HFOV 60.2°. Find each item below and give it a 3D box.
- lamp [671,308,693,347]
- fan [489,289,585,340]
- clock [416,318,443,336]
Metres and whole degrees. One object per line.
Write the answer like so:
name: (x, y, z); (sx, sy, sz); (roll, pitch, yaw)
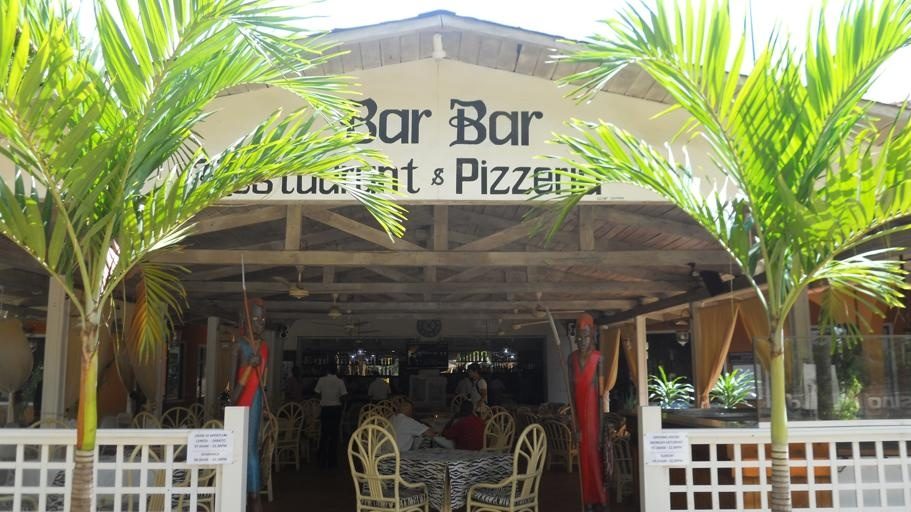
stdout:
lamp: (4.699, 1.441, 16.256); (0.421, 0.767, 0.329); (-3, -5, 7)
fan: (1.614, 1.131, 14.592); (1.941, 0.834, 1.015); (1, 1, -11)
clock: (-0.635, 1.681, 18.665); (0.494, 0.446, 0.029); (2, 3, 1)
